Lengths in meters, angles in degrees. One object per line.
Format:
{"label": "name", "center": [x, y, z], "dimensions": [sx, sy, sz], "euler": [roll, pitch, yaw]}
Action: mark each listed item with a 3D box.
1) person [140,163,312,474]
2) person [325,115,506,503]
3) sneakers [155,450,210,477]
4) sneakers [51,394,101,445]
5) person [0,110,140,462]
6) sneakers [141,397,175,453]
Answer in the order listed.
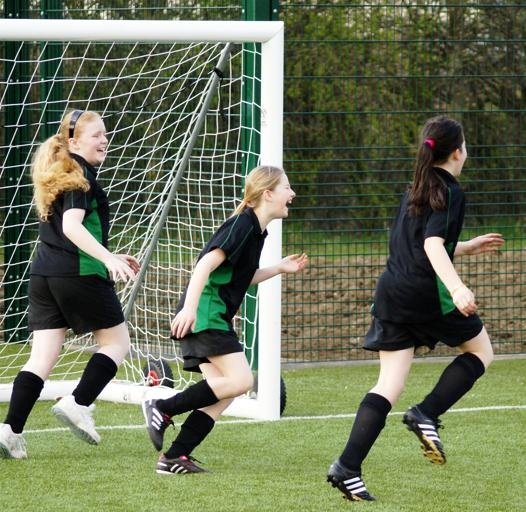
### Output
{"label": "person", "center": [-0.192, 0.308, 4.349], "dimensions": [0.727, 1.470, 0.438], "euler": [0, 4, -10]}
{"label": "person", "center": [0.680, 0.215, 4.102], "dimensions": [0.665, 1.682, 0.545], "euler": [1, 5, 14]}
{"label": "sneakers", "center": [-0.379, 0.986, 4.403], "dimensions": [0.260, 0.119, 0.094], "euler": [2, -2, -8]}
{"label": "sneakers", "center": [-0.911, 0.827, 4.584], "dimensions": [0.134, 0.288, 0.274], "euler": [5, 6, 43]}
{"label": "person", "center": [-0.962, 0.134, 4.597], "dimensions": [0.677, 1.738, 0.638], "euler": [0, 4, -9]}
{"label": "sneakers", "center": [-0.512, 0.794, 4.488], "dimensions": [0.126, 0.318, 0.101], "euler": [-14, -8, 6]}
